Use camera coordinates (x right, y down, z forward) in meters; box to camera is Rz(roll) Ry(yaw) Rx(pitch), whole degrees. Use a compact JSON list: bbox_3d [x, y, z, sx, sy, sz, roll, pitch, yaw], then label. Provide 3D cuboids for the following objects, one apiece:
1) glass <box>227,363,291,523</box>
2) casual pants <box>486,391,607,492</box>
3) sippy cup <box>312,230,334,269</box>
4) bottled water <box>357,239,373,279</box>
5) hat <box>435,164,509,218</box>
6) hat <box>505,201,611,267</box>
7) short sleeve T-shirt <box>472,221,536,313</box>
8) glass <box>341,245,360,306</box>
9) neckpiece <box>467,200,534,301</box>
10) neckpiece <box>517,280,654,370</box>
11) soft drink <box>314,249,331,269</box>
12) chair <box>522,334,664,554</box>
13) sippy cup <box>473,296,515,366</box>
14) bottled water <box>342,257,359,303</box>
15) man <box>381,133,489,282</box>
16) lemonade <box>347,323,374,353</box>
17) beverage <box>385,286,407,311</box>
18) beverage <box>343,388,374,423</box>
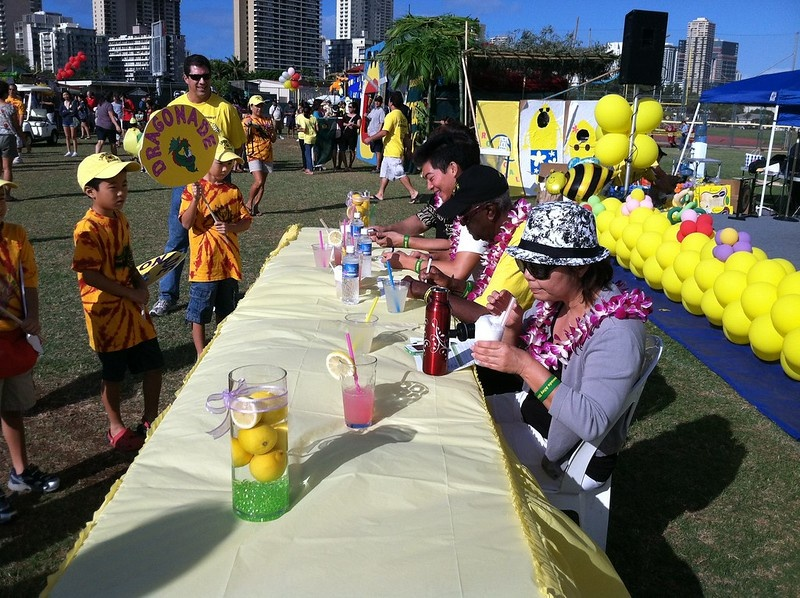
[{"bbox_3d":[-0.393,0.389,1.542,0.164,0.380,0.228,-3,19,-13],"label":"glass"},{"bbox_3d":[0.689,0.660,2.651,0.437,0.584,0.394,-20,45,29],"label":"casual pants"},{"bbox_3d":[-0.528,-0.336,3.782,0.160,0.248,0.158,-4,0,0],"label":"sippy cup"},{"bbox_3d":[-0.202,-0.290,3.496,0.088,0.299,0.090,-1,2,19],"label":"bottled water"},{"bbox_3d":[0.391,-0.614,3.121,0.375,0.199,0.248,-25,26,4],"label":"hat"},{"bbox_3d":[0.605,-0.274,2.189,0.397,0.199,0.371,-12,33,-42],"label":"hat"},{"bbox_3d":[0.629,-0.169,2.970,0.165,0.439,0.334,20,-2,-18],"label":"short sleeve T-shirt"},{"bbox_3d":[-0.277,-0.128,3.082,0.105,0.301,0.107,4,9,20],"label":"glass"},{"bbox_3d":[0.551,-0.291,3.113,0.191,0.537,0.458,21,-19,-7],"label":"neckpiece"},{"bbox_3d":[0.754,0.107,2.284,0.437,0.167,0.413,-29,16,12],"label":"neckpiece"},{"bbox_3d":[-0.506,-0.280,3.773,0.114,0.133,0.120,1,5,6],"label":"soft drink"},{"bbox_3d":[0.781,0.571,2.730,0.743,1.080,0.679,1,15,5],"label":"chair"},{"bbox_3d":[0.378,0.133,2.254,0.265,0.277,0.161,-3,5,5],"label":"sippy cup"},{"bbox_3d":[-0.275,-0.138,3.071,0.094,0.335,0.097,3,8,30],"label":"bottled water"},{"bbox_3d":[0.208,-0.598,3.744,0.716,1.006,0.762,-5,11,-7],"label":"man"},{"bbox_3d":[-0.175,0.175,2.486,0.122,0.133,0.130,-3,21,-11],"label":"lemonade"},{"bbox_3d":[-0.024,-0.011,2.992,0.126,0.133,0.128,-4,19,-20],"label":"beverage"},{"bbox_3d":[-0.143,0.379,1.941,0.111,0.127,0.110,-3,5,-33],"label":"beverage"}]
